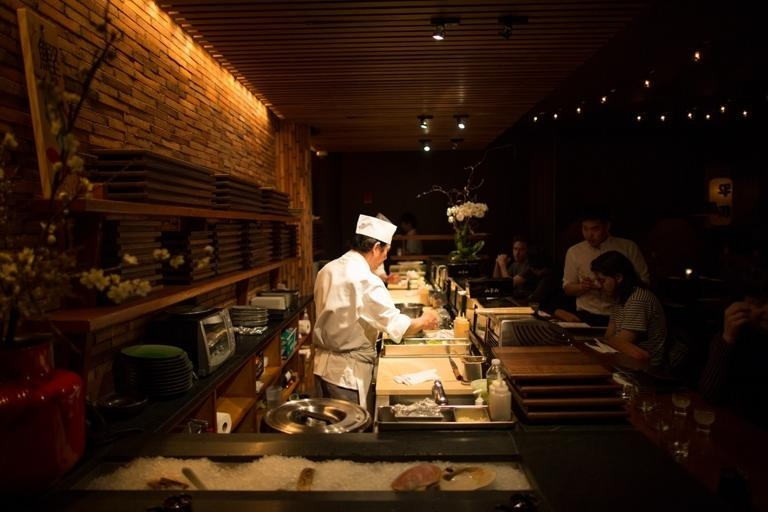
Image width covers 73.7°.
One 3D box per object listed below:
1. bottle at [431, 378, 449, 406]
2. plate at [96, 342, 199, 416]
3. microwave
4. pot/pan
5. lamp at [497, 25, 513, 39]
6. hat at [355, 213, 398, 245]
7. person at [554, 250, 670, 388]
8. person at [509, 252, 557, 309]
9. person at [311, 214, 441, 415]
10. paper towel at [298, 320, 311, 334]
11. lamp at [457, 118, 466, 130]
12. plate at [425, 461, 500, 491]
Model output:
[{"bbox_3d":[0.326,0.827,3.080,0.104,0.142,0.101,-3,-15,-1],"label":"bottle"},{"bbox_3d":[-1.408,0.725,3.057,0.430,0.174,0.304,6,7,28],"label":"plate"},{"bbox_3d":[-1.380,0.587,3.661,0.480,0.408,0.639,-1,2,2],"label":"microwave"},{"bbox_3d":[-0.384,0.961,2.917,0.590,0.141,0.580,3,3,5],"label":"pot/pan"},{"bbox_3d":[0.943,-1.751,4.018,0.103,0.140,0.149,4,23,11],"label":"lamp"},{"bbox_3d":[-0.055,-0.240,4.745,0.332,0.191,0.259,14,0,-28],"label":"hat"},{"bbox_3d":[1.769,0.388,3.681,0.298,0.740,0.878,0,10,-2],"label":"person"},{"bbox_3d":[1.868,0.258,6.324,0.349,0.665,0.701,0,10,-1],"label":"person"},{"bbox_3d":[-0.163,0.503,4.375,0.867,1.592,0.892,-7,13,-36],"label":"person"},{"bbox_3d":[-0.900,0.798,5.840,0.171,0.142,0.131,-3,3,-25],"label":"paper towel"},{"bbox_3d":[0.987,-1.688,6.550,0.081,0.101,0.259,-1,24,7],"label":"lamp"},{"bbox_3d":[0.375,1.006,2.339,0.269,0.050,0.184,1,10,4],"label":"plate"}]
